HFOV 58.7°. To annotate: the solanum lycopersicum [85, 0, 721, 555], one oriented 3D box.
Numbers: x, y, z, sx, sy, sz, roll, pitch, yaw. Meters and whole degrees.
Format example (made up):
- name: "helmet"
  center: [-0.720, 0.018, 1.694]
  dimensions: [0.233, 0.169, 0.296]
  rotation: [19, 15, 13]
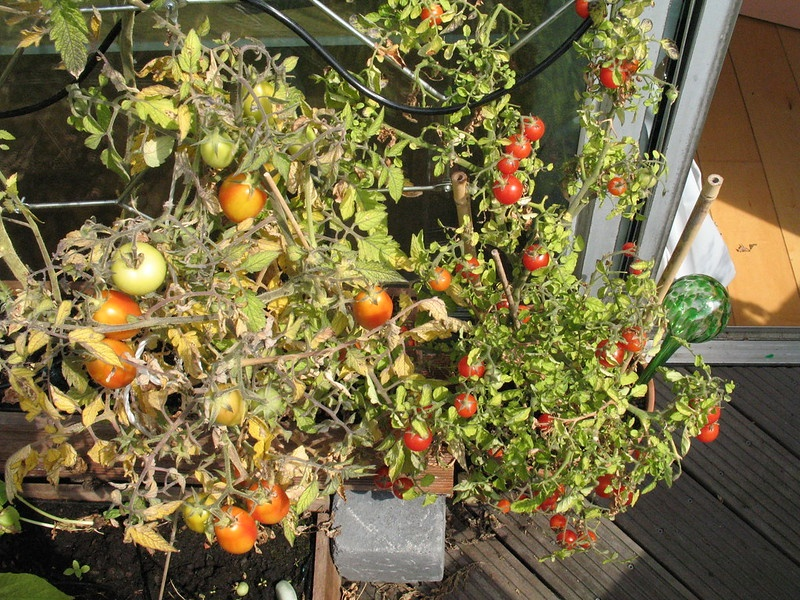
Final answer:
- name: "solanum lycopersicum"
  center: [-0.009, -0.058, 1.445]
  dimensions: [1.166, 1.059, 0.371]
  rotation: [0, 13, -5]
